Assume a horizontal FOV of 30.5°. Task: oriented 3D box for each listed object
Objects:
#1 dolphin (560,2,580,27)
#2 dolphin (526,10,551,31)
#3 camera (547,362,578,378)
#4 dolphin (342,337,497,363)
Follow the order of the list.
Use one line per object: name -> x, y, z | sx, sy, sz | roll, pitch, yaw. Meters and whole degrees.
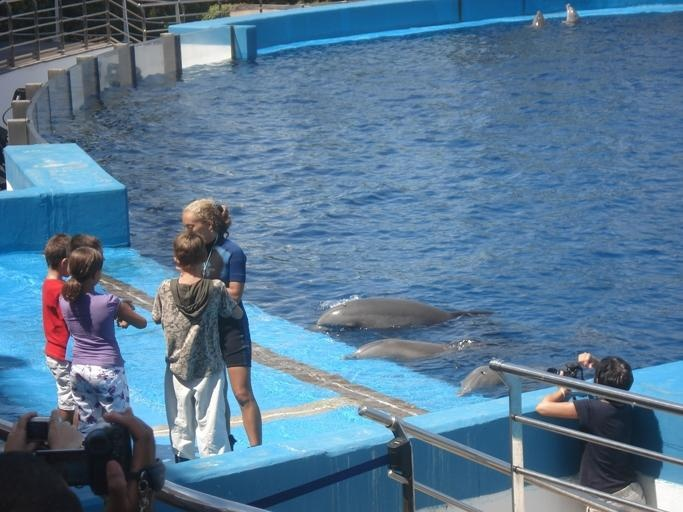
dolphin -> 8.543, -8.805, 46.800 | 0.583, 1.411, 0.554 | 21, 52, 30
dolphin -> 7.293, -8.723, 45.929 | 0.635, 1.001, 0.503 | 8, 1, -31
camera -> 3.000, 1.529, 16.592 | 0.468, 0.202, 0.421 | 1, -3, -7
dolphin -> 1.280, 1.521, 20.253 | 2.437, 0.323, 0.610 | -1, 12, -14
